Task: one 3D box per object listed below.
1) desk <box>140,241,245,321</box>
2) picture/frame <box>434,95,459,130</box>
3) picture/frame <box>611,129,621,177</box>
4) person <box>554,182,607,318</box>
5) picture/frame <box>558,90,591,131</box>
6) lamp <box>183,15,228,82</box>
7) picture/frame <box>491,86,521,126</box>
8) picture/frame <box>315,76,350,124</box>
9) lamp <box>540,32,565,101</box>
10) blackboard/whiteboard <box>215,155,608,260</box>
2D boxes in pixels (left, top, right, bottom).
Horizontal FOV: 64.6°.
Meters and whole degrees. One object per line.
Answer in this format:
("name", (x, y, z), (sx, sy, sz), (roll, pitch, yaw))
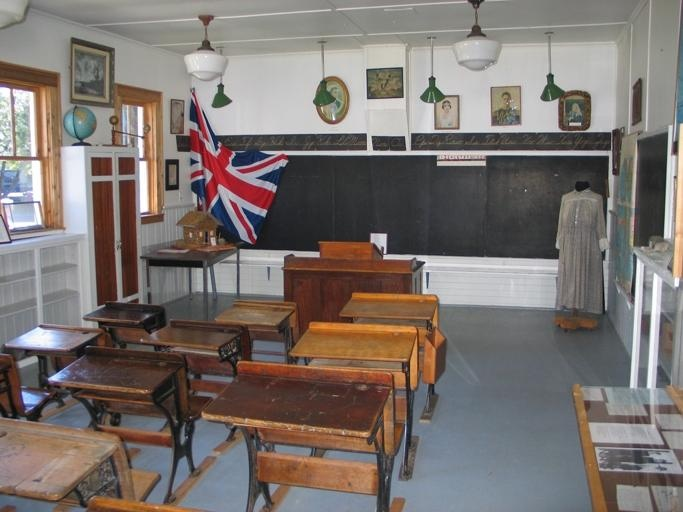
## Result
("desk", (-2.138, 0.080, 7.741), (0.797, 0.732, 1.506), (2, 6, 9))
("picture/frame", (1.635, -2.247, 8.381), (0.516, 0.685, 0.046), (-1, 3, 6))
("picture/frame", (3.814, -1.448, 7.531), (0.091, 0.632, 0.792), (6, 14, 22))
("person", (3.331, -0.098, 7.487), (0.688, 1.808, 0.465), (7, 15, 25))
("picture/frame", (3.495, -2.187, 8.077), (0.590, 0.789, 0.083), (1, 4, 22))
("lamp", (-1.620, -2.471, 6.395), (0.450, 0.789, 1.149), (-3, 14, -14))
("picture/frame", (2.530, -2.326, 8.299), (0.587, 0.761, 0.054), (0, 5, 10))
("picture/frame", (-0.133, -2.495, 8.561), (0.726, 0.864, 0.083), (2, 12, 22))
("lamp", (3.001, -2.658, 7.666), (0.297, 0.909, 1.019), (5, 14, 19))
("blackboard/whiteboard", (1.327, -0.806, 8.594), (4.956, 1.625, 0.245), (3, 14, 9))
